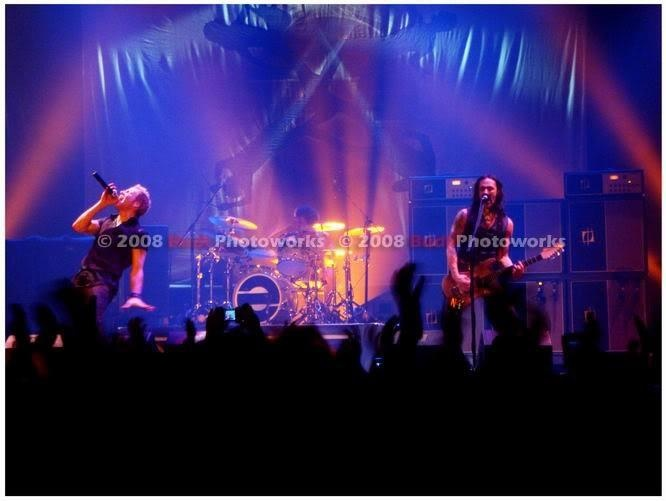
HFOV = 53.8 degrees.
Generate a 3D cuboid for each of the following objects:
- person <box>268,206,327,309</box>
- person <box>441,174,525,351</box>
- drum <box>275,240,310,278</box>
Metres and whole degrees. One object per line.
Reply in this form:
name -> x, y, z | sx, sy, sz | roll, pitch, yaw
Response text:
person -> -0.458, 0.152, 8.802 | 0.999, 1.622, 1.004 | -1, -27, -2
person -> 1.535, 0.276, 6.676 | 0.797, 2.068, 0.590 | 4, 27, 13
drum -> -0.536, 0.091, 8.617 | 0.437, 0.467, 0.475 | -13, -34, 20
